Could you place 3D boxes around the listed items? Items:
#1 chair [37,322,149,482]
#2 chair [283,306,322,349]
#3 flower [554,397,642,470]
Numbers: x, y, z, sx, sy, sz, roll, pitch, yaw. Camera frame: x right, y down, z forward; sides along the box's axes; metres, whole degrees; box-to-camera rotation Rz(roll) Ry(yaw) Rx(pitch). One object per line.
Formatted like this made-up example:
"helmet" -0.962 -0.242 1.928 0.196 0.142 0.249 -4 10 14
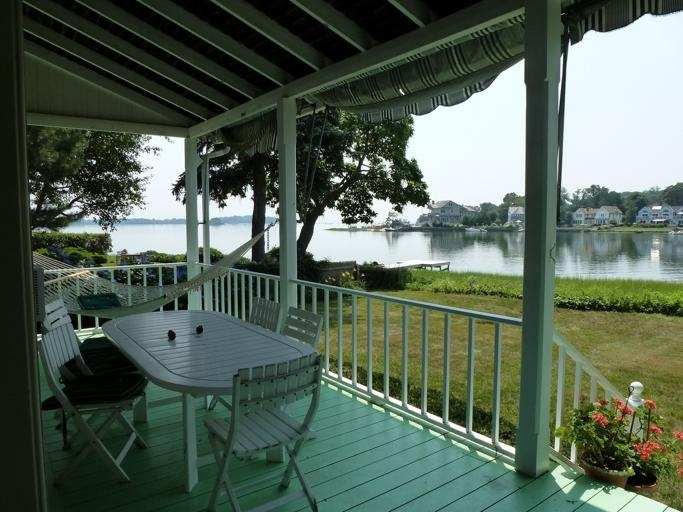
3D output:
"chair" -1.788 0.993 3.932 0.892 0.955 0.601 7 15 34
"chair" -0.318 0.563 4.338 0.149 0.306 0.417 1 4 -35
"flower" 1.835 1.266 3.846 0.344 0.381 0.376 10 -10 14
